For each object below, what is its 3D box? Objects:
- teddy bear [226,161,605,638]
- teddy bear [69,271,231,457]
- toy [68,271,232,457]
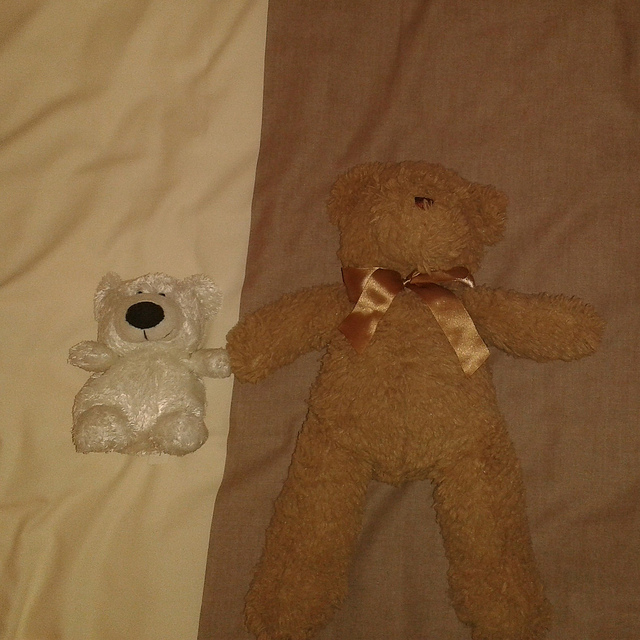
[{"bbox_3d":[0.126,0.120,2.324,0.815,0.219,0.767,0,86,4],"label":"teddy bear"},{"bbox_3d":[-0.298,0.092,2.396,0.384,0.183,0.344,1,78,-4],"label":"teddy bear"},{"bbox_3d":[-0.298,0.092,2.396,0.382,0.186,0.346,1,78,-4],"label":"toy"}]
